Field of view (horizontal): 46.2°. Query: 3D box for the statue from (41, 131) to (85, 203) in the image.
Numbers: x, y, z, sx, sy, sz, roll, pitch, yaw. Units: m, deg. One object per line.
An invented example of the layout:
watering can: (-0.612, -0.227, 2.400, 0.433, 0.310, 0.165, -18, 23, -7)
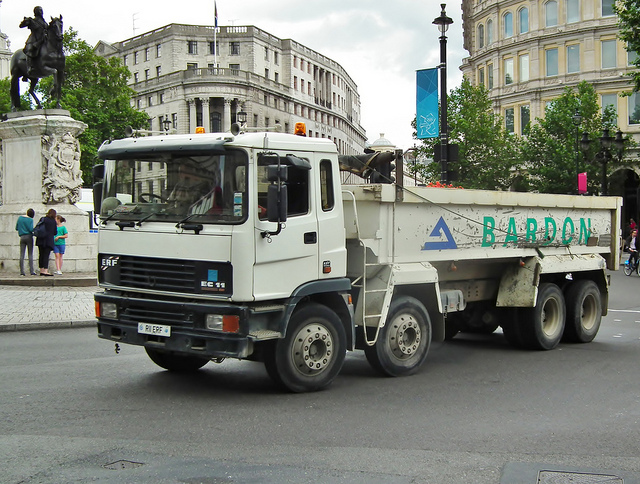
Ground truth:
statue: (-7.697, -2.253, 22.327, 0.447, 2.120, 1.213, 4, 5, 31)

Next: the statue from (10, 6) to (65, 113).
statue: (-8.465, -5.417, 22.425, 1.809, 3.006, 0.938, 3, 5, 27)

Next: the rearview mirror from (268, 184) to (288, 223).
rearview mirror: (-0.522, -0.475, 9.058, 0.227, 0.457, 0.197, 0, 5, -7)

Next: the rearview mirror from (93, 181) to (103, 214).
rearview mirror: (-2.967, -0.603, 9.985, 0.117, 0.430, 0.276, -1, 5, -20)

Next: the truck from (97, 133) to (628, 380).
truck: (1.430, 0.216, 11.922, 9.668, 3.459, 3.878, -1, 5, -23)
